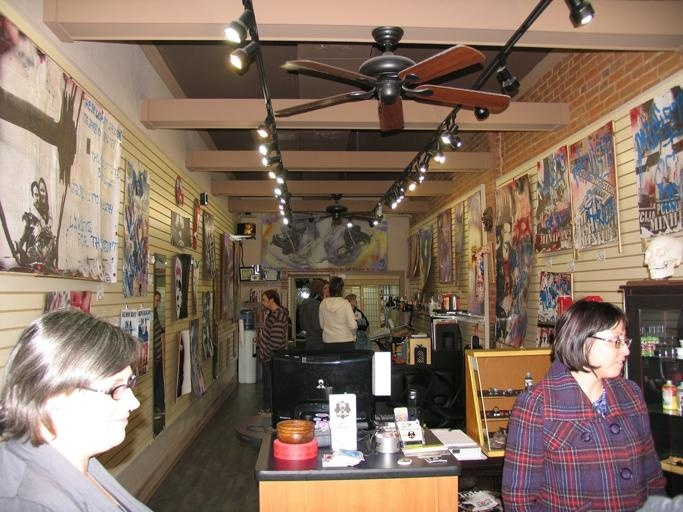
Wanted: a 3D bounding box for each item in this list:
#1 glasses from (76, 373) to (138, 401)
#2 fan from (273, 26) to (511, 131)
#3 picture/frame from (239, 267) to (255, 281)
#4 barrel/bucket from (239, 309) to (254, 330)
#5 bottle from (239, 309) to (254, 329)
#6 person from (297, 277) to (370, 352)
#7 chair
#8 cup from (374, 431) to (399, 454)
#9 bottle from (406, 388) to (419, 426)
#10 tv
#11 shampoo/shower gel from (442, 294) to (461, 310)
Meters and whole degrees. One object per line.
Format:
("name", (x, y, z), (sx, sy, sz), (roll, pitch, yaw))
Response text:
("glasses", (-0.787, 0.434, 1.559), (0.132, 0.040, 0.130), (0, -1, -2))
("fan", (0.405, -1.232, 3.345), (1.024, 0.354, 1.058), (-1, -4, 4))
("picture/frame", (-2.443, 0.465, 12.261), (0.354, 0.351, 0.093), (-2, -7, 3))
("barrel/bucket", (-2.017, 1.363, 10.083), (0.347, 0.499, 0.355), (-1, -7, 0))
("bottle", (-2.019, 1.364, 10.077), (0.343, 0.489, 0.354), (-1, -8, 0))
("person", (-0.219, 0.896, 7.426), (0.514, 1.104, 1.276), (3, -9, -22))
("chair", (0.901, 1.295, 4.527), (1.080, 1.089, 0.572), (0, 1, -2))
("cup", (0.282, 1.168, 2.948), (0.114, 0.076, 0.117), (-2, -3, 0))
("bottle", (0.480, 1.019, 3.233), (0.062, 0.198, 0.121), (0, -8, 2))
("tv", (-0.146, 0.939, 3.329), (0.733, 0.542, 0.188), (0, -7, 3))
("shampoo/shower gel", (1.988, 0.863, 8.543), (0.341, 0.312, 0.578), (-2, -8, 12))
